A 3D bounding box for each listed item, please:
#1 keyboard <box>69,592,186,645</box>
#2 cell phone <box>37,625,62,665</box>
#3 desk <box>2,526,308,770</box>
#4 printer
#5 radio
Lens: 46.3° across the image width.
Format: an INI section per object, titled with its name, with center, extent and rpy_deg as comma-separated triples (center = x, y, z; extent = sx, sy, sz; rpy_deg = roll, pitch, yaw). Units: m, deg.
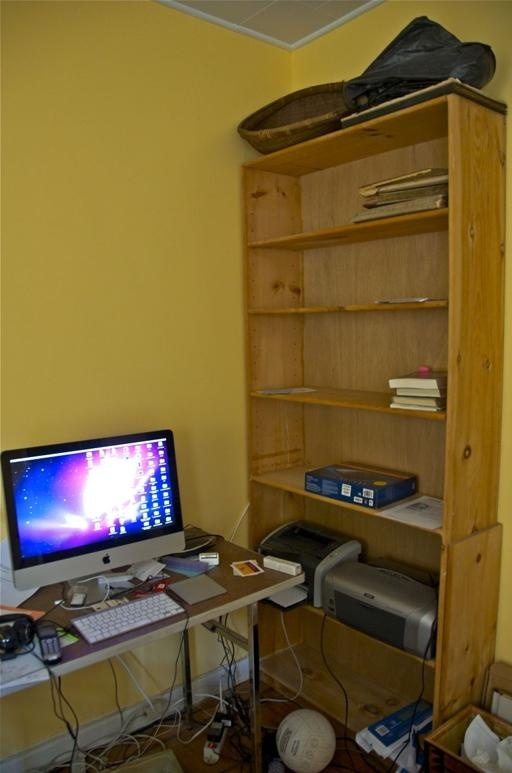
[keyboard]
center = -0.325, 0.593, 1.542
extent = 0.268, 0.023, 0.140
rpy_deg = -3, 10, -39
[cell phone]
center = -0.484, 0.597, 1.391
extent = 0.034, 0.025, 0.118
rpy_deg = -2, 8, -19
[desk]
center = -0.465, 0.795, 1.947
extent = 0.772, 0.637, 0.979
rpy_deg = 10, 7, 43
[printer]
center = 0.218, 0.644, 2.297
extent = 0.239, 0.225, 0.320
rpy_deg = -4, 5, -36
[radio]
center = 0.431, 0.733, 1.977
extent = 0.161, 0.206, 0.475
rpy_deg = -2, 9, -36
